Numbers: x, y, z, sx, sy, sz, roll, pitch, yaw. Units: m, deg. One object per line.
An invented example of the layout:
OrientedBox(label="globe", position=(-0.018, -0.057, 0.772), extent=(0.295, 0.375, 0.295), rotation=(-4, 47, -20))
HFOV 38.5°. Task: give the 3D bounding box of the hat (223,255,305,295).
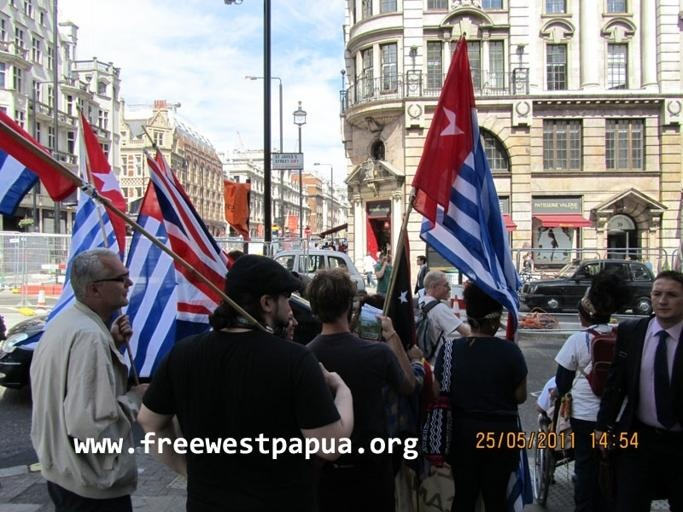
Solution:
OrientedBox(label="hat", position=(-0.934, 0.202, 12.178), extent=(0.881, 0.460, 0.627), rotation=(-6, 11, -16))

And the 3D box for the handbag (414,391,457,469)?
OrientedBox(label="handbag", position=(1.296, 2.177, 13.154), extent=(0.366, 1.228, 0.407), rotation=(5, 2, 22))

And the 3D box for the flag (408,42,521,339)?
OrientedBox(label="flag", position=(1.763, -0.796, 13.924), extent=(1.519, 4.619, 0.452), rotation=(5, -15, -4))

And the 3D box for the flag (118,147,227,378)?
OrientedBox(label="flag", position=(-2.343, 0.289, 14.550), extent=(1.182, 3.883, 2.056), rotation=(5, 10, 33))

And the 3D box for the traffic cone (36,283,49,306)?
OrientedBox(label="traffic cone", position=(-8.145, 1.079, 26.657), extent=(0.429, 0.637, 0.442), rotation=(1, -2, -13))

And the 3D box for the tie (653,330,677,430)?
OrientedBox(label="tie", position=(4.287, 1.633, 13.026), extent=(0.263, 1.281, 0.064), rotation=(-1, -3, 15))

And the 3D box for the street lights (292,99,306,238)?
OrientedBox(label="street lights", position=(-1.790, -3.694, 42.713), extent=(0.737, 6.580, 0.811), rotation=(1, -20, -8))

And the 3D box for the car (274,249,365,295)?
OrientedBox(label="car", position=(-0.719, 0.420, 26.231), extent=(1.874, 1.013, 1.119), rotation=(2, 0, -5))

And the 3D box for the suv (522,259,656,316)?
OrientedBox(label="suv", position=(6.193, 0.856, 25.728), extent=(4.059, 1.663, 1.704), rotation=(0, 0, 9))
